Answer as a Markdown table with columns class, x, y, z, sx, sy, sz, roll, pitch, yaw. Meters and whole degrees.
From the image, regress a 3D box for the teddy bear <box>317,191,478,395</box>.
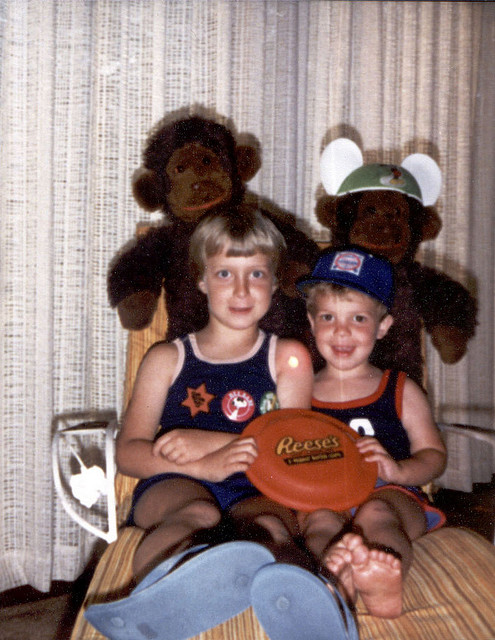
| class | x | y | z | sx | sy | sz | roll | pitch | yaw |
| --- | --- | --- | --- | --- | --- | --- | --- | --- | --- |
| teddy bear | 0.363 | -0.082 | 1.705 | 0.389 | 0.450 | 0.198 | 0 | 5 | 10 |

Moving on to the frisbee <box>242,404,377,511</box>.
| class | x | y | z | sx | sy | sz | roll | pitch | yaw |
| --- | --- | --- | --- | --- | --- | --- | --- | --- | --- |
| frisbee | 0.124 | 0.251 | 1.283 | 0.242 | 0.039 | 0.237 | 19 | 39 | 9 |
